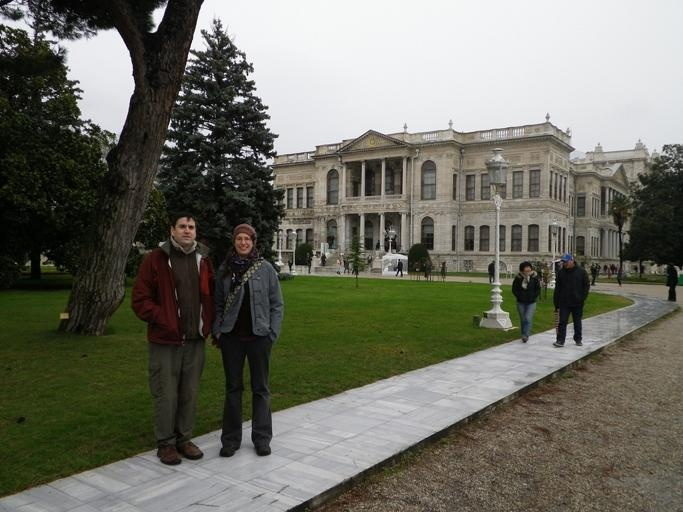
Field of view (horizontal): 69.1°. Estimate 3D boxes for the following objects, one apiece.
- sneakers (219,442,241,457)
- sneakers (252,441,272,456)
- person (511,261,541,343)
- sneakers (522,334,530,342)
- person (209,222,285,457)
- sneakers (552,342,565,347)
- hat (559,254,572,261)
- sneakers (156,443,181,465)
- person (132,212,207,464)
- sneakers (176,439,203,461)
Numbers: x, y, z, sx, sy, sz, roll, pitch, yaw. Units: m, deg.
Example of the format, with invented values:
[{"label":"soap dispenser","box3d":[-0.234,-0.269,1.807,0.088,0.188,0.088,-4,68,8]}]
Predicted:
[{"label":"sneakers","box3d":[-1.203,2.112,5.367,0.233,0.102,0.146,1,3,-33]},{"label":"sneakers","box3d":[-0.860,2.099,5.391,0.189,0.122,0.163,2,2,-4]},{"label":"person","box3d":[4.659,1.150,12.594,0.623,1.999,1.275,3,2,22]},{"label":"sneakers","box3d":[4.561,2.070,12.302,0.106,0.150,0.340,-1,-7,7]},{"label":"person","box3d":[-1.054,0.910,5.498,0.750,2.499,0.512,2,2,-7]},{"label":"sneakers","box3d":[5.114,2.112,11.719,0.094,0.113,0.229,7,-3,-36]},{"label":"hat","box3d":[5.302,0.065,11.643,0.265,0.151,0.174,-19,14,-40]},{"label":"sneakers","box3d":[-1.809,2.088,5.215,0.235,0.172,0.286,1,2,-21]},{"label":"person","box3d":[-1.806,0.864,5.341,0.845,2.607,0.561,1,2,-24]},{"label":"sneakers","box3d":[-1.628,2.085,5.348,0.335,0.142,0.133,9,19,35]}]
